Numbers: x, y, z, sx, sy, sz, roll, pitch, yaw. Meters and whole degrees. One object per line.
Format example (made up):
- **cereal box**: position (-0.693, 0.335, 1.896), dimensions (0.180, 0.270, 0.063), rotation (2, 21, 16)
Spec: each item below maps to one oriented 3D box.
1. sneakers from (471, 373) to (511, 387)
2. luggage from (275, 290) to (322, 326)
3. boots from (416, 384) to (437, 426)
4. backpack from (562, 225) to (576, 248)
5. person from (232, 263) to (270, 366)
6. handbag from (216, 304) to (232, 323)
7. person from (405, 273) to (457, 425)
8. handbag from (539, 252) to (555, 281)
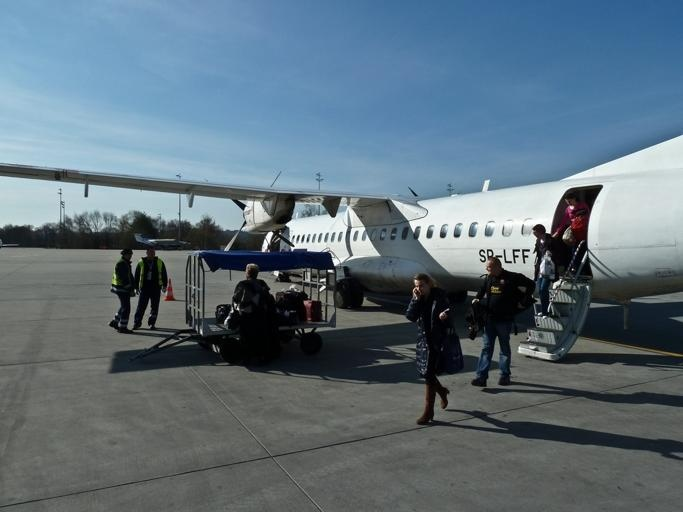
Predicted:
- **sneakers**: position (2.470, 2.013, 7.945), dimensions (0.699, 0.291, 0.222), rotation (1, -6, -4)
- **luggage**: position (-0.879, 1.064, 9.943), dimensions (0.886, 0.806, 0.590), rotation (-8, 0, 0)
- **boots**: position (1.180, 1.955, 6.628), dimensions (0.227, 0.535, 0.519), rotation (1, 6, 11)
- **backpack**: position (4.702, -0.439, 9.929), dimensions (0.199, 0.313, 0.363), rotation (-1, -33, 30)
- **person**: position (-1.620, 1.089, 8.818), dimensions (0.684, 1.860, 0.311), rotation (-1, 6, -13)
- **handbag**: position (-2.504, 1.159, 9.931), dimensions (0.321, 0.421, 0.415), rotation (4, -7, -8)
- **person**: position (1.282, 1.234, 6.620), dimensions (0.736, 1.977, 0.671), rotation (1, 6, 11)
- **handbag**: position (4.132, 0.183, 9.606), dimensions (0.338, 0.564, 0.248), rotation (0, 6, 1)
